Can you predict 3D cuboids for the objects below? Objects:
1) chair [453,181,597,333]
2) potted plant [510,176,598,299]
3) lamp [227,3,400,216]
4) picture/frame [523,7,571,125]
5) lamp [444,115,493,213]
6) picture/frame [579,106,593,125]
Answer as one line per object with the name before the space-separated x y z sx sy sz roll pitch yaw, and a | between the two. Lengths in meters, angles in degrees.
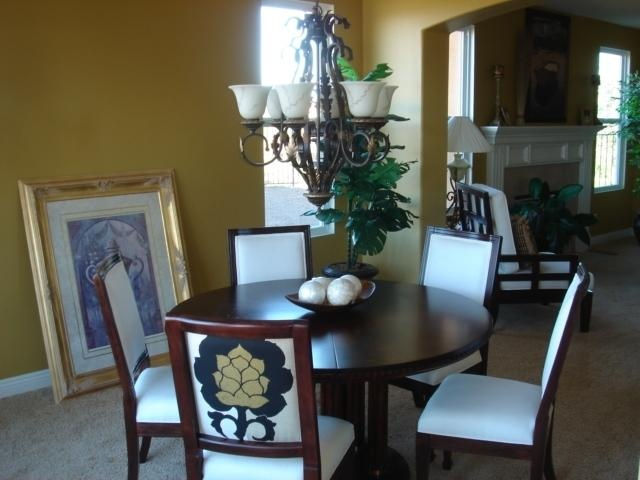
chair | 1.929 0.197 4.665 0.893 1.053 0.959 -1 -2 4
potted plant | 2.691 -0.227 6.377 1.140 1.326 1.370 16 18 37
lamp | -0.024 -0.737 3.058 0.748 1.058 1.512 -3 11 5
picture/frame | 2.767 -2.179 6.505 0.062 1.670 1.337 6 7 44
lamp | 1.435 -0.744 5.343 0.509 0.910 0.532 14 16 42
picture/frame | 3.605 -1.692 7.190 0.235 0.344 0.027 -5 6 -29
